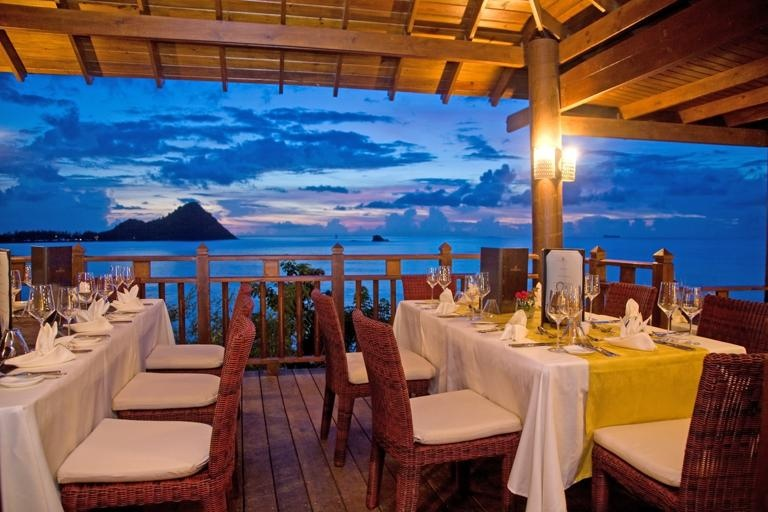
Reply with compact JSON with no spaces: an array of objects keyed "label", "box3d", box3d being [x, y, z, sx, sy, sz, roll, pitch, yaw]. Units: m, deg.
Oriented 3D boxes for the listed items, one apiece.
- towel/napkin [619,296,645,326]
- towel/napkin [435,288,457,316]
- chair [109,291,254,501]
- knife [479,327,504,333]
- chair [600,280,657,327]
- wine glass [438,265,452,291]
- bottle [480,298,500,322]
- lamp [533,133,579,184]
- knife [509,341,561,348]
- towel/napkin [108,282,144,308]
[{"label":"towel/napkin","box3d":[1.608,0.348,3.525,0.194,0.190,0.178,-4,3,6]},{"label":"towel/napkin","box3d":[0.470,0.356,4.203,0.136,0.086,0.195,-4,11,-5]},{"label":"chair","box3d":[-1.397,0.896,3.792,0.786,0.659,1.301,3,0,-4]},{"label":"knife","box3d":[0.705,0.483,3.627,0.203,0.004,0.052,-1,11,1]},{"label":"chair","box3d":[2.014,0.357,4.346,0.344,0.528,0.314,-1,2,-17]},{"label":"wine glass","box3d":[0.498,0.181,4.579,0.106,0.228,0.287,2,11,6]},{"label":"bottle","box3d":[0.766,0.377,3.923,0.150,0.140,0.142,0,0,-11]},{"label":"lamp","box3d":[1.908,-1.054,6.115,0.555,0.449,0.240,-6,14,-28]},{"label":"knife","box3d":[0.917,0.527,3.322,0.291,0.021,0.032,1,27,-2]},{"label":"towel/napkin","box3d":[-2.155,0.329,4.552,0.344,0.158,0.319,-3,-3,45]}]
